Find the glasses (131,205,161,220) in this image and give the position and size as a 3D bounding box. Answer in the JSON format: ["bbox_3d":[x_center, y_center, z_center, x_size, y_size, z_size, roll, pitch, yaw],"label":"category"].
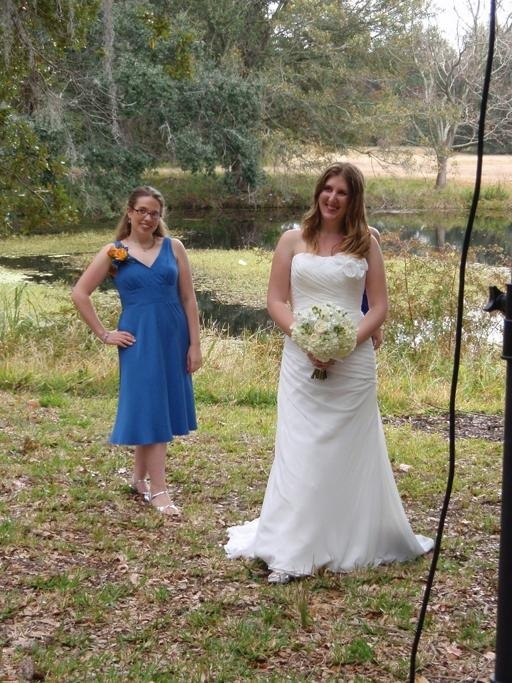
[{"bbox_3d":[-0.643,-0.769,4.843,0.161,0.071,0.067,-4,9,-28],"label":"glasses"}]

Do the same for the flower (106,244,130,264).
[{"bbox_3d":[-0.803,-0.519,4.796,0.110,0.107,0.056,-1,-3,11],"label":"flower"}]

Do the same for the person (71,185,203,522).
[{"bbox_3d":[-0.685,0.048,4.883,0.778,1.959,0.562,-4,10,-22],"label":"person"}]

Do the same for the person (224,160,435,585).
[{"bbox_3d":[0.378,0.121,4.228,0.962,2.104,0.729,-2,9,-13],"label":"person"}]

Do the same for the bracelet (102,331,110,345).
[{"bbox_3d":[-0.883,-0.022,4.770,0.063,0.070,0.066,1,32,-4],"label":"bracelet"}]

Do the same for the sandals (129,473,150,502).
[{"bbox_3d":[-0.728,0.927,5.097,0.084,0.083,0.222,3,3,-36],"label":"sandals"}]
